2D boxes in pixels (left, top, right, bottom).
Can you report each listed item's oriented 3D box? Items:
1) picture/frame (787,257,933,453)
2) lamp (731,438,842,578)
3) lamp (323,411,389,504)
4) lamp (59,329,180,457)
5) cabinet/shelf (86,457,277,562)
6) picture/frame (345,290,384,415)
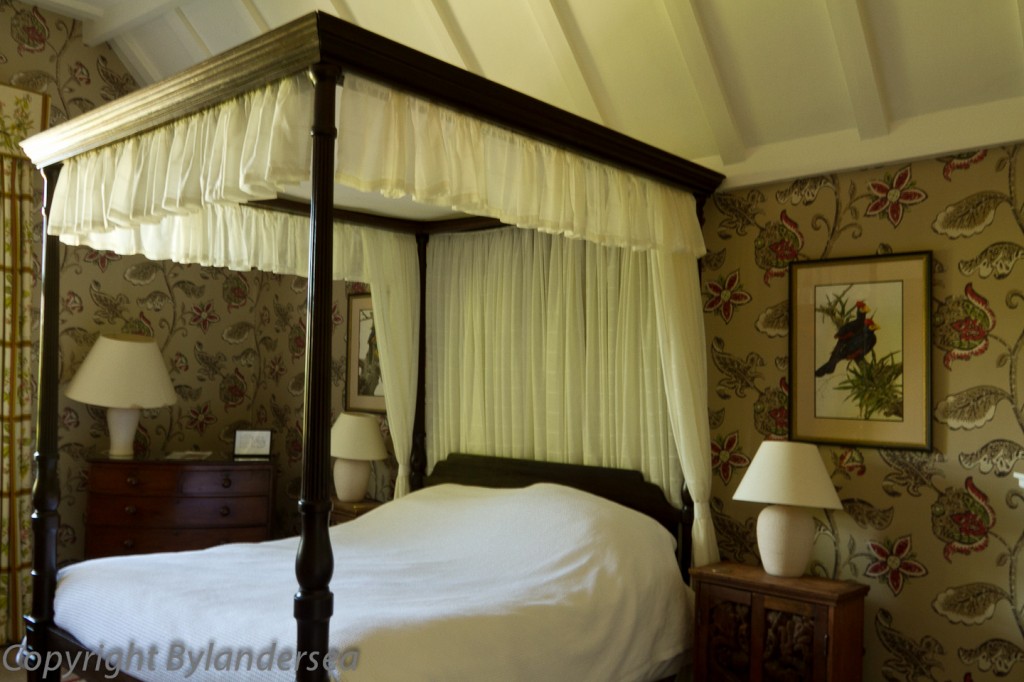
[{"bbox_3d":[2.066,0.091,4.559,1.026,1.554,0.032,-4,-6,37],"label":"picture/frame"},{"bbox_3d":[1.590,0.973,4.519,0.599,0.770,0.630,8,-11,-9],"label":"lamp"},{"bbox_3d":[-1.246,0.926,6.107,0.513,0.656,0.537,1,-8,23],"label":"lamp"},{"bbox_3d":[-2.910,0.410,6.071,0.794,0.956,0.834,1,1,7],"label":"lamp"},{"bbox_3d":[-2.475,1.228,5.670,0.708,0.707,0.302,1,-7,-15],"label":"cabinet/shelf"},{"bbox_3d":[-1.182,0.110,6.300,0.039,0.850,0.847,1,-10,-37],"label":"picture/frame"}]
